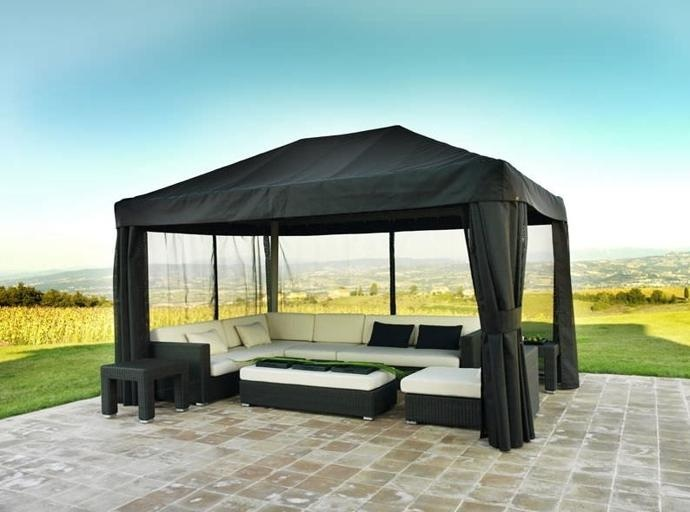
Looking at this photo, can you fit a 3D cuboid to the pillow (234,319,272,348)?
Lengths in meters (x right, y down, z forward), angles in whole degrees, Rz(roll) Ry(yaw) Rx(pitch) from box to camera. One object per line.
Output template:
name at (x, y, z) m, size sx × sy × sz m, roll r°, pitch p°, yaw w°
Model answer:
pillow at (-1.521, 1.289, 8.411) m, size 0.167 × 0.332 × 0.564 m, roll -27°, pitch -9°, yaw 19°

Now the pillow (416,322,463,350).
pillow at (1.418, 1.240, 7.835) m, size 0.683 × 0.341 × 0.414 m, roll 0°, pitch 3°, yaw 22°

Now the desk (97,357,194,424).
desk at (-2.701, 1.830, 6.859) m, size 1.043 × 0.659 × 0.999 m, roll -12°, pitch -10°, yaw -1°

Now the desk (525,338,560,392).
desk at (3.049, 1.743, 8.145) m, size 0.670 × 0.796 × 1.198 m, roll 4°, pitch -12°, yaw 22°

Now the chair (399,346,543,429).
chair at (1.622, 1.662, 6.535) m, size 1.490 × 0.942 × 1.463 m, roll 6°, pitch -11°, yaw -43°
